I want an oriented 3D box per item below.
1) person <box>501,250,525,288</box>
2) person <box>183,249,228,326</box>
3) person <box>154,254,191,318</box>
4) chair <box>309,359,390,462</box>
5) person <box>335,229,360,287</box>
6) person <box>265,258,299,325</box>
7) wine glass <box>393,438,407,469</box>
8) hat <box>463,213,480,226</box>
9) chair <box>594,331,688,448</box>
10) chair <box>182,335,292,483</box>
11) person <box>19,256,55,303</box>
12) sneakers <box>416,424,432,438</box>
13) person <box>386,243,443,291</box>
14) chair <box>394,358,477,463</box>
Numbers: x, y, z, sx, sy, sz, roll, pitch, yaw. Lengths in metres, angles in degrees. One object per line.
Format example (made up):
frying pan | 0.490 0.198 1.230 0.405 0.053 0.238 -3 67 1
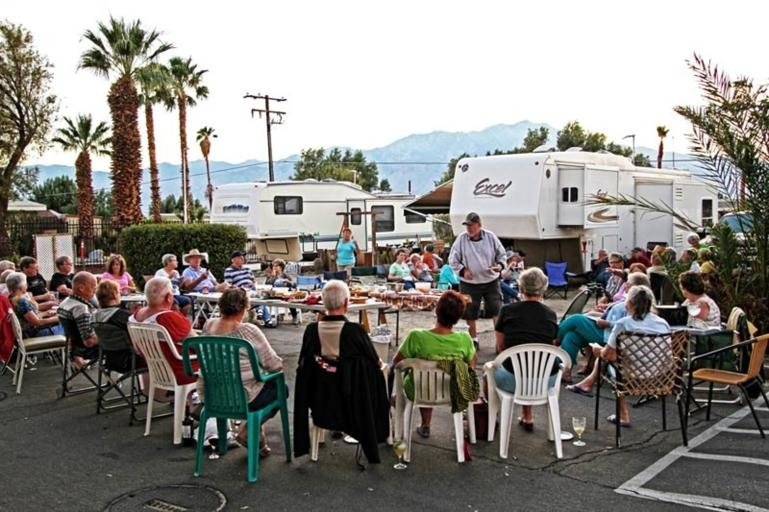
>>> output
person | 2.192 0.232 12.755 0.238 0.755 0.269 -7 46 1
person | -3.018 0.529 12.542 0.775 1.311 0.721 -6 -1 34
person | -3.403 0.524 11.993 0.555 1.096 0.441 1 15 -21
chair | -0.350 1.524 7.360 0.832 1.018 0.542 6 14 25
person | -0.838 0.141 16.320 0.682 1.470 0.535 8 14 31
person | -1.800 0.587 12.796 0.553 1.027 0.570 -2 7 21
wine glass | 0.150 1.969 7.429 0.129 0.285 0.351 -1 12 0
hat | 1.289 -0.541 10.825 0.147 0.138 0.226 0 -2 36
chair | 2.830 1.299 8.128 0.948 1.168 1.312 3 12 17
chair | -1.475 1.470 7.340 1.041 1.357 0.686 -2 12 -6
person | -5.572 0.374 11.833 0.308 0.899 0.391 -14 23 3
sneakers | 0.427 1.916 8.056 0.112 0.136 0.312 0 2 3
person | 0.489 0.212 13.617 0.482 0.643 1.080 0 -2 -23
chair | 0.434 1.549 7.947 0.978 1.366 0.962 0 6 6
